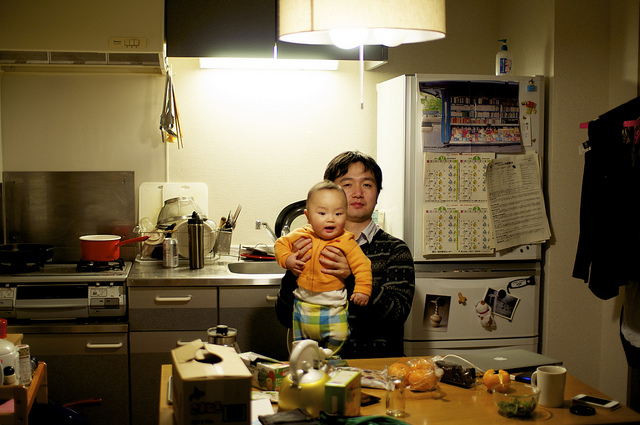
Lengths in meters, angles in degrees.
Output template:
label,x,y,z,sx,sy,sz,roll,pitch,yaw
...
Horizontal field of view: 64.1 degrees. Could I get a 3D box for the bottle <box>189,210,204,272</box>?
label,x,y,z,sx,sy,sz,roll,pitch,yaw
bottle,-0.840,0.199,3.435,0.103,0.384,0.129,0,4,-2

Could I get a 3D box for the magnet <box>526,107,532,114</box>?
label,x,y,z,sx,sy,sz,roll,pitch,yaw
magnet,1.396,-0.678,3.405,0.041,0.035,0.009,6,1,6

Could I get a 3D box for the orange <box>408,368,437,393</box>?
label,x,y,z,sx,sy,sz,roll,pitch,yaw
orange,0.440,0.719,2.187,0.095,0.061,0.109,1,-15,19

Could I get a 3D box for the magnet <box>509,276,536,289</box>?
label,x,y,z,sx,sy,sz,roll,pitch,yaw
magnet,1.363,0.473,3.479,0.207,0.054,0.066,-5,18,2

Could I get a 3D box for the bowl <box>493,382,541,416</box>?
label,x,y,z,sx,sy,sz,roll,pitch,yaw
bowl,0.795,0.725,2.050,0.141,0.077,0.141,-2,-4,0

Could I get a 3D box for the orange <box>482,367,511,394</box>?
label,x,y,z,sx,sy,sz,roll,pitch,yaw
orange,0.734,0.704,2.140,0.103,0.096,0.101,5,2,30

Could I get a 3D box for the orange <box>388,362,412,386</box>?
label,x,y,z,sx,sy,sz,roll,pitch,yaw
orange,0.340,0.696,2.222,0.091,0.087,0.091,-5,-18,-29

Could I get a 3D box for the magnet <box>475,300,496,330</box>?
label,x,y,z,sx,sy,sz,roll,pitch,yaw
magnet,1.104,0.689,3.466,0.123,0.182,0.066,-28,3,0

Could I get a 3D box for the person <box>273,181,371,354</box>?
label,x,y,z,sx,sy,sz,roll,pitch,yaw
person,0.010,0.275,2.566,0.493,0.849,0.183,1,4,8

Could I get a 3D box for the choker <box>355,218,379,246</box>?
label,x,y,z,sx,sy,sz,roll,pitch,yaw
choker,0.263,0.116,3.002,0.074,0.130,0.099,41,-24,-30

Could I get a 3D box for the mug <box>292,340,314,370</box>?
label,x,y,z,sx,sy,sz,roll,pitch,yaw
mug,-0.051,0.570,2.045,0.105,0.092,0.086,2,0,-18

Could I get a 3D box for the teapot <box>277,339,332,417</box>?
label,x,y,z,sx,sy,sz,roll,pitch,yaw
teapot,-0.062,0.651,2.000,0.208,0.298,0.117,0,4,-4

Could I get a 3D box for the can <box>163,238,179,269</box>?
label,x,y,z,sx,sy,sz,roll,pitch,yaw
can,-1.011,0.279,3.467,0.089,0.201,0.066,-2,4,-26
